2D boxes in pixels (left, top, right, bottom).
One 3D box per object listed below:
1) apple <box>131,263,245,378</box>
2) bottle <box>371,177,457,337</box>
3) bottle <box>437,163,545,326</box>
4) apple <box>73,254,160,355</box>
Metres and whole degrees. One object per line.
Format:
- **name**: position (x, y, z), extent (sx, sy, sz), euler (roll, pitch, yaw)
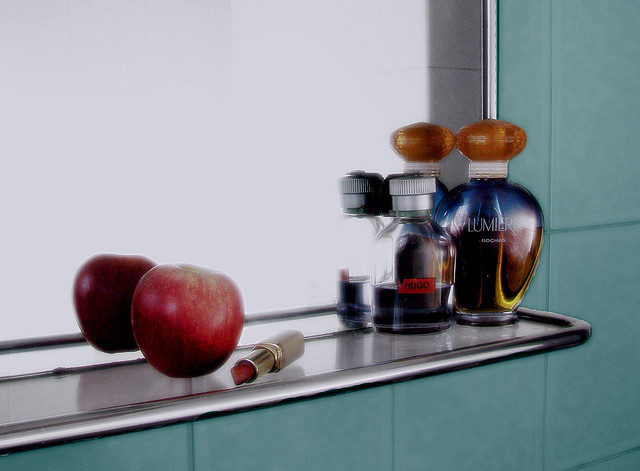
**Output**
- **apple**: position (-0.126, 0.086, 0.589), extent (0.104, 0.112, 0.044), euler (-5, 13, -16)
- **bottle**: position (0.108, 0.025, 0.751), extent (0.110, 0.193, 0.106), euler (0, 3, 0)
- **bottle**: position (0.213, -0.003, 0.790), extent (0.139, 0.222, 0.136), euler (-1, 5, 0)
- **apple**: position (-0.214, 0.070, 0.680), extent (0.088, 0.107, 0.097), euler (3, 1, 16)
